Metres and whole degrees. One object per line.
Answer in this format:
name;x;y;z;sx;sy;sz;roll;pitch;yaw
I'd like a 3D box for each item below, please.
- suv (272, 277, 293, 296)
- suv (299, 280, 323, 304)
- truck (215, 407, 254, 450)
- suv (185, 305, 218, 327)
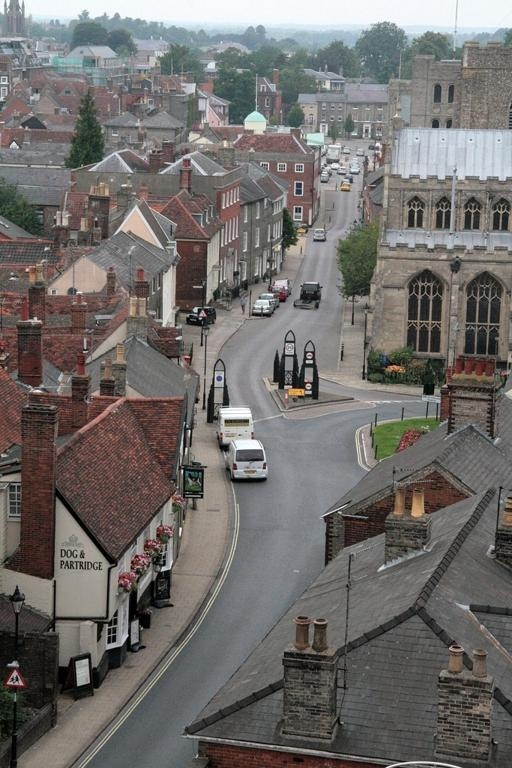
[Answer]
suv;2.030;-7.300;126.376;0.775;0.828;2.025;3;11;9
suv;4.172;-6.837;123.842;0.967;1.125;2.138;3;16;7
truck;-0.890;1.909;73.476;1.059;1.136;1.955;-1;14;-2
suv;-3.535;-4.450;109.493;0.986;1.048;1.922;3;9;7
